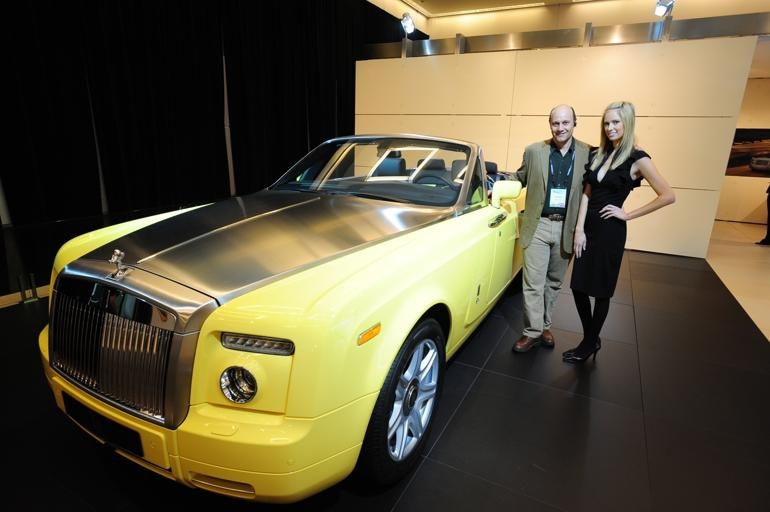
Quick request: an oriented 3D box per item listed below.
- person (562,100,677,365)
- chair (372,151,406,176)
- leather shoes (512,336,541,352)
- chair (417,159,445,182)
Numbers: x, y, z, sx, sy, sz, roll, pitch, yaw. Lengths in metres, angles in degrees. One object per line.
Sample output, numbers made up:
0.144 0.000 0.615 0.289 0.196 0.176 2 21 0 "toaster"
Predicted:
2.069 -0.143 3.899 0.631 2.363 0.479 9 19 24 "person"
0.049 -0.826 3.885 0.219 0.261 0.248 6 29 12 "chair"
1.395 0.849 4.290 0.337 0.161 0.126 -4 7 -31 "leather shoes"
0.405 -0.753 3.895 0.196 0.239 0.216 -2 3 -41 "chair"
